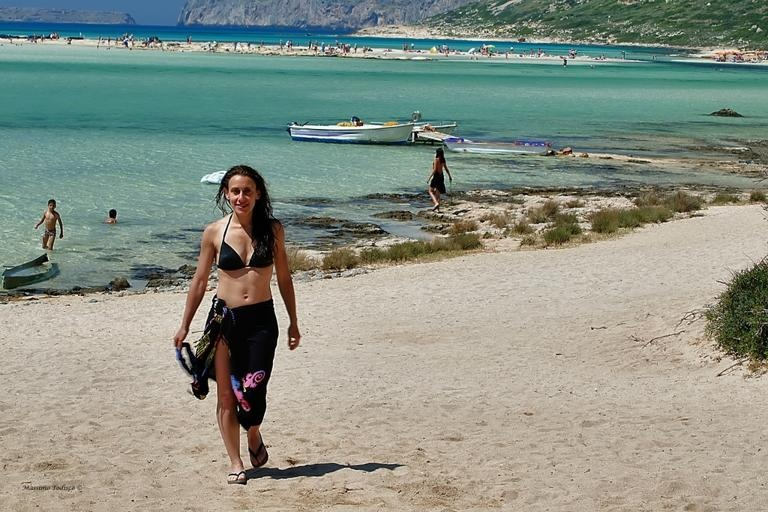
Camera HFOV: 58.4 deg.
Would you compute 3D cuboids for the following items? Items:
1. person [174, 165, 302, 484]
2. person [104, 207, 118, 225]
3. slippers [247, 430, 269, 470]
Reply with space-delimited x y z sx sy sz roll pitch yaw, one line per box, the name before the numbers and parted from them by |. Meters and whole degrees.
person | -1.554 0.789 7.461 0.915 3.456 1.093 11 22 35
person | -9.008 -1.365 22.748 0.664 0.248 0.640 2 54 -14
slippers | -1.442 2.195 7.875 0.229 0.531 0.086 -12 -3 -19
